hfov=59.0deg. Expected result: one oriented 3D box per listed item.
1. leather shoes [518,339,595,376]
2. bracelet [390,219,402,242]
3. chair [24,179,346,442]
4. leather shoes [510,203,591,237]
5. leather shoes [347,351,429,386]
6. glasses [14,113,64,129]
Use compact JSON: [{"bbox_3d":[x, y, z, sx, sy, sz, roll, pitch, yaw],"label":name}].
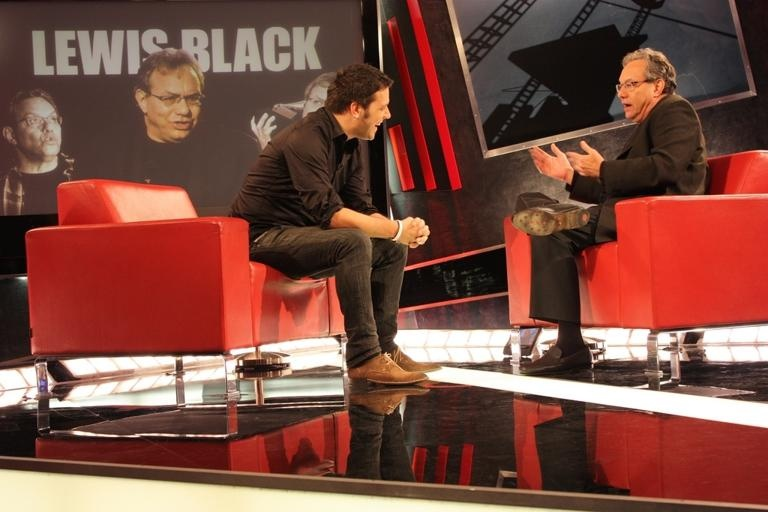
[{"bbox_3d":[0.835,0.490,3.235,0.352,0.121,0.133,-1,-4,-13],"label":"leather shoes"},{"bbox_3d":[0.080,-0.116,3.107,0.073,0.077,0.038,-20,-45,38],"label":"bracelet"},{"bbox_3d":[-0.881,0.201,3.457,1.008,1.096,1.317,-3,-1,19],"label":"chair"},{"bbox_3d":[0.779,-0.168,3.126,0.417,0.126,0.178,-4,5,-6],"label":"leather shoes"},{"bbox_3d":[0.011,0.511,3.056,0.421,0.140,0.130,0,-5,0],"label":"leather shoes"},{"bbox_3d":[-2.508,-0.984,4.958,0.197,0.043,0.144,-2,-2,35],"label":"glasses"}]
